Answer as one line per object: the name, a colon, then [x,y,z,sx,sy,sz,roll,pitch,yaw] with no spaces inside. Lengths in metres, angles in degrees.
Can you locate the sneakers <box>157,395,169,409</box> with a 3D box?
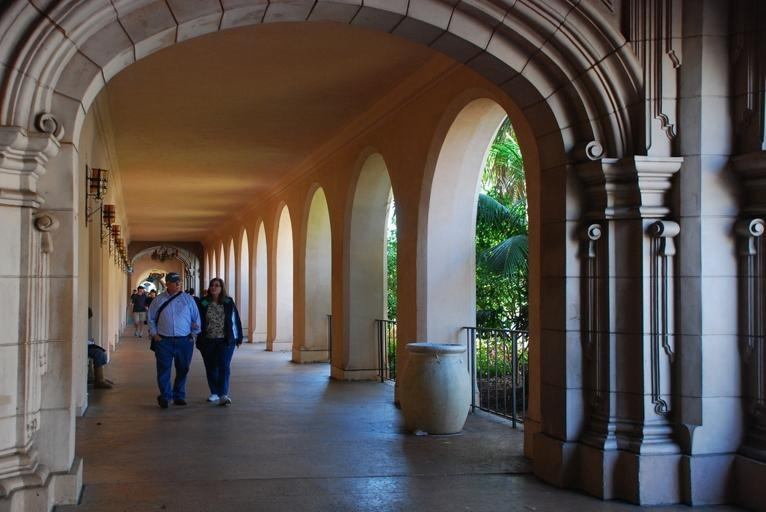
sneakers: [-3.182,2.098,9.067,0.116,0.192,0.193,1,-7,-12]

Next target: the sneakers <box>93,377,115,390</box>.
sneakers: [-4.744,2.143,10.605,0.343,0.272,0.126,-2,1,-16]

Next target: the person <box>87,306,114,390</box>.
person: [-4.999,1.521,10.695,0.695,1.296,0.481,4,-12,-25]

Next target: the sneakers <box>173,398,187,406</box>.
sneakers: [-2.995,2.139,9.221,0.225,0.102,0.083,-1,-2,12]

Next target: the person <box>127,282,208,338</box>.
person: [-3.144,0.868,9.044,1.019,0.982,0.548,1,-5,-12]

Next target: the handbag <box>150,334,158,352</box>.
handbag: [-3.288,1.238,8.976,0.073,0.234,0.315,1,-5,-26]
